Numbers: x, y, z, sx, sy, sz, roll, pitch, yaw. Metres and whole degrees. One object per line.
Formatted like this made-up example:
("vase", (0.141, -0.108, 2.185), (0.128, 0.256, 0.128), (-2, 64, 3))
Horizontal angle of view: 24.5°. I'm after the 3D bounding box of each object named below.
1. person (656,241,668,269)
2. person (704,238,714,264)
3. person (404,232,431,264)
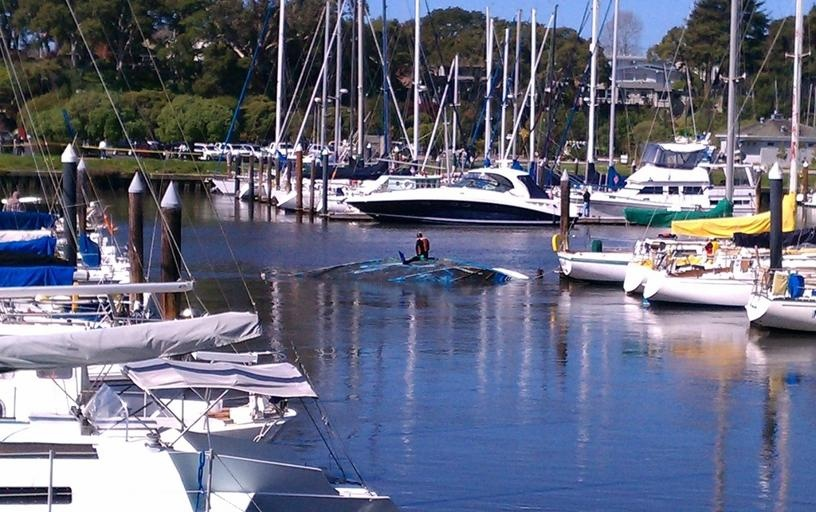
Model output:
("person", (12.224, 0.040, 91.421), (0.419, 1.437, 0.434), (13, -4, 16))
("person", (14.624, -0.293, 91.940), (0.314, 0.325, 1.270), (6, 41, 13))
("person", (0.425, -0.380, 99.136), (1.515, 1.357, 0.811), (-6, 14, -36))
